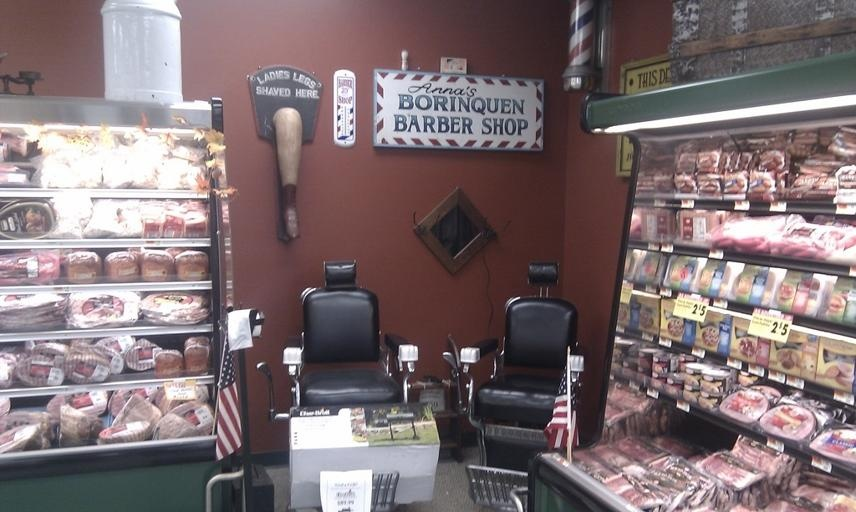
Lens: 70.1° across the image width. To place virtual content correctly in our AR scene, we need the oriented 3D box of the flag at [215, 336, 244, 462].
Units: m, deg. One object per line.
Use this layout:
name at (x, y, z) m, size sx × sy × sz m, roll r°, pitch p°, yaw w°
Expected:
flag at (-1.211, 0.855, 3.654) m, size 0.158 × 0.772 × 0.217 m, roll -4°, pitch 7°, yaw -20°
